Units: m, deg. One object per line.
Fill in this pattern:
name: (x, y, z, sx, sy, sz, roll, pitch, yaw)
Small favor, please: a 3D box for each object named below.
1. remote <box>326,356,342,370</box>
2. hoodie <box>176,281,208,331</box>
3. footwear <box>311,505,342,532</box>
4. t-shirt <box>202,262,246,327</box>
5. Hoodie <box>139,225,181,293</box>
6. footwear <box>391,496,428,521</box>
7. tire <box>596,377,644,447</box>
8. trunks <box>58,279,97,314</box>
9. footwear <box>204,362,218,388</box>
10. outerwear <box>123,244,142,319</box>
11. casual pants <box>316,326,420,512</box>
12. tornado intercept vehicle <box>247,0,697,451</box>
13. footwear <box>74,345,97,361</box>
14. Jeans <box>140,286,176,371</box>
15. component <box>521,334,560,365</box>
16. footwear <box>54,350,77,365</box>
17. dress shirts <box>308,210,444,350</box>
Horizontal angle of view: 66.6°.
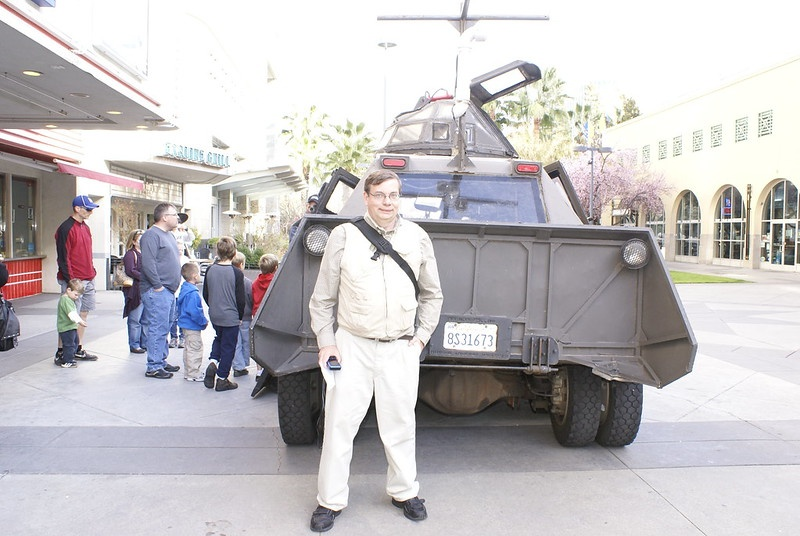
remote: (-0.552, 0.800, 5.042, 0.116, 0.128, 0.115, 0, 9, -6)
hoodie: (-2.924, 0.512, 8.570, 0.418, 0.653, 0.639, 1, 6, -36)
footwear: (-0.661, 2.126, 5.186, 0.198, 0.184, 0.124, 0, 9, -6)
t-shirt: (-2.367, 0.347, 8.168, 0.552, 0.825, 0.377, -2, 10, -14)
Hoodie: (-3.451, -0.133, 8.836, 0.527, 0.984, 0.789, 2, 1, 0)
footwear: (0.074, 2.089, 5.405, 0.128, 0.157, 0.349, 10, -3, -42)
tire: (2.276, 1.476, 6.362, 0.230, 0.698, 0.679, 5, 12, -6)
trunks: (-4.943, 0.431, 9.313, 0.379, 0.692, 0.677, -1, -1, 3)
footwear: (-2.547, 1.442, 8.282, 0.148, 0.425, 0.176, 7, 5, -1)
outerwear: (-4.261, 0.236, 9.692, 0.273, 1.065, 0.475, -4, 10, -25)
casual pants: (-0.275, 1.220, 5.402, 0.893, 2.006, 0.498, -2, 15, -9)
tornado intercept vehicle: (0.500, 0.096, 8.495, 3.986, 4.071, 6.032, 0, 4, -4)
footwear: (-4.833, 1.326, 9.500, 0.382, 0.246, 0.156, 1, 2, -13)
Jeans: (-3.429, 0.887, 8.705, 0.427, 1.212, 0.358, -4, 11, -27)
component: (1.379, 0.803, 5.978, 0.347, 0.280, 0.182, 3, 10, 11)
footwear: (-5.015, 1.343, 9.125, 0.168, 0.221, 0.469, 5, -5, -39)
dress shirts: (-0.220, 0.132, 5.260, 1.268, 1.307, 0.661, 0, 3, -17)
